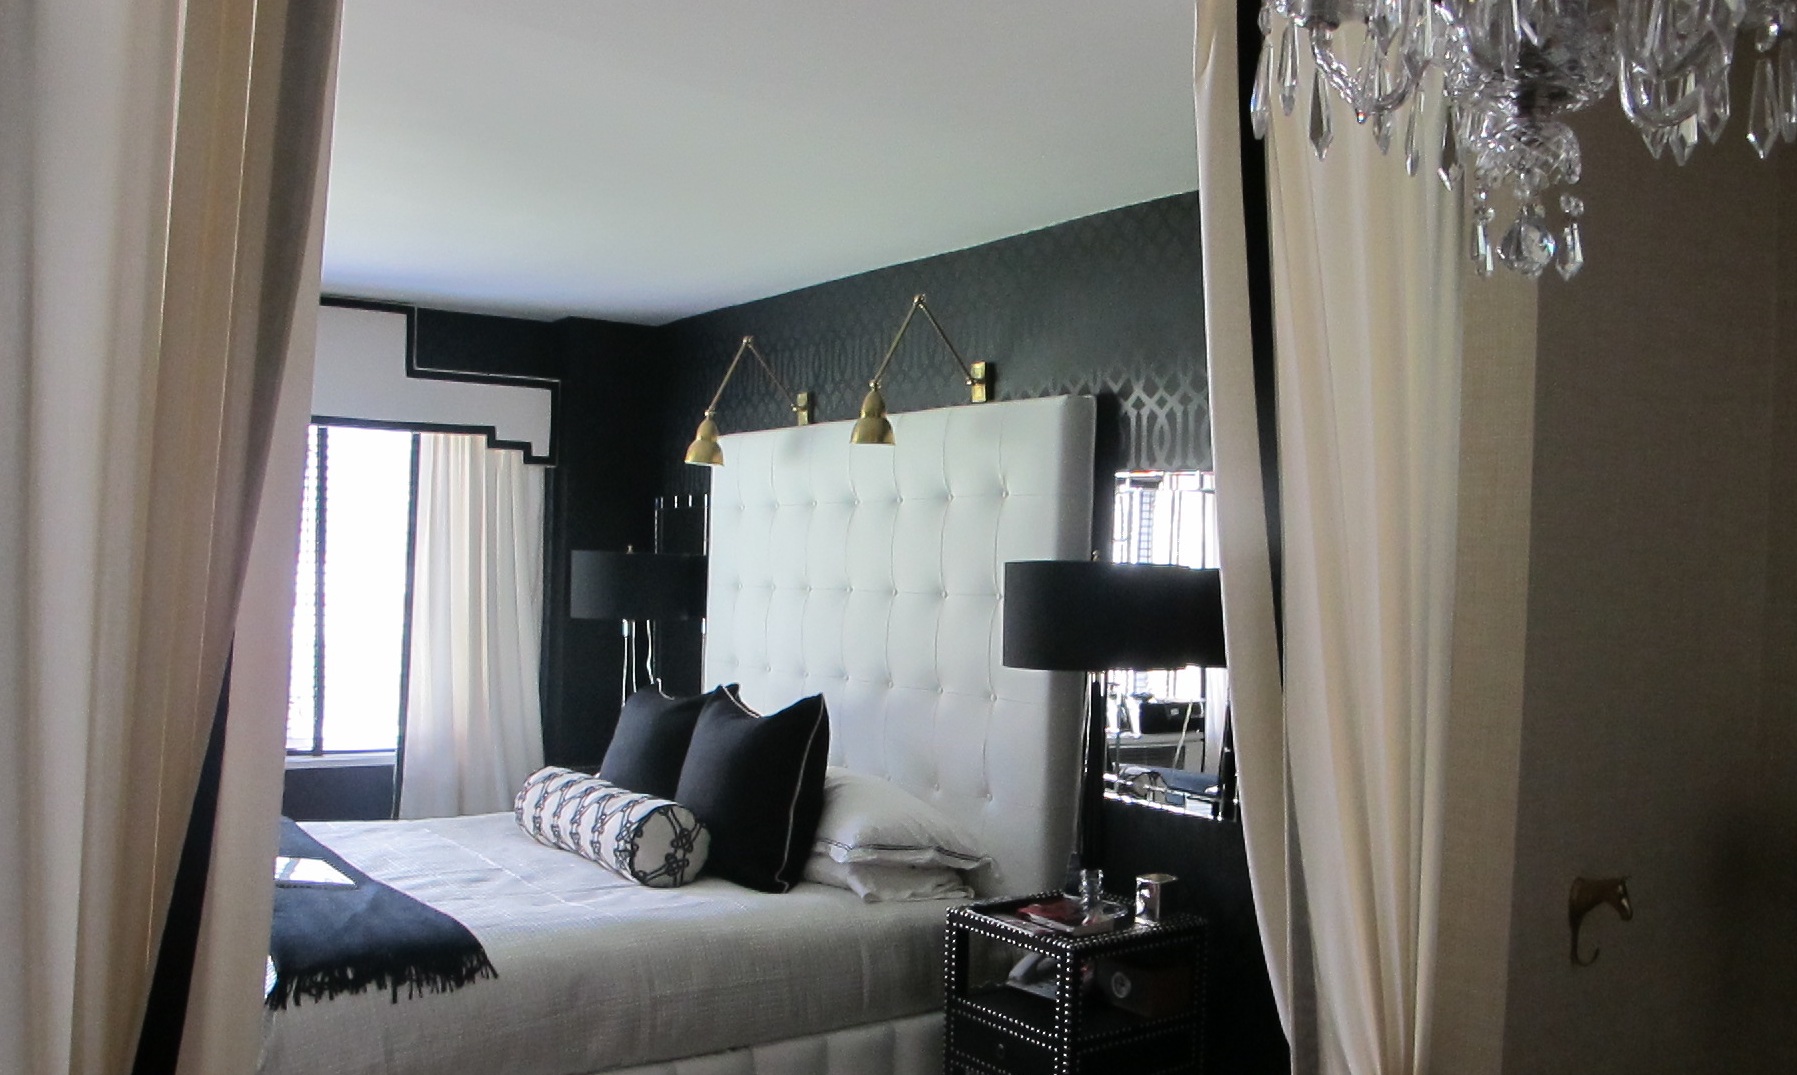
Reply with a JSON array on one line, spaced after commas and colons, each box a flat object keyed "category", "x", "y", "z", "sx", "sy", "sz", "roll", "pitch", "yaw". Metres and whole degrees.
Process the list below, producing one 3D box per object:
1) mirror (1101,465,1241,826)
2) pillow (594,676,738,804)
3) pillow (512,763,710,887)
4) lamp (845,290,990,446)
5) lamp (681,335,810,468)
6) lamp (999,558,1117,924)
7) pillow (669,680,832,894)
[{"category": "mirror", "x": 0.877, "y": 0.316, "z": 4.350, "sx": 0.051, "sy": 1.058, "sz": 0.501, "roll": -8, "pitch": 6, "yaw": -42}, {"category": "pillow", "x": -0.852, "y": 0.755, "z": 5.175, "sx": 0.191, "sy": 0.509, "sz": 0.537, "roll": 12, "pitch": -12, "yaw": -33}, {"category": "pillow", "x": -0.946, "y": 0.972, "z": 4.632, "sx": 0.238, "sy": 0.240, "sz": 0.888, "roll": 29, "pitch": -14, "yaw": -31}, {"category": "lamp", "x": 0.090, "y": -0.642, "z": 5.246, "sx": 0.162, "sy": 0.505, "sz": 0.776, "roll": 16, "pitch": 22, "yaw": 39}, {"category": "lamp", "x": -0.664, "y": -0.639, "z": 6.307, "sx": 0.766, "sy": 0.510, "sz": 0.183, "roll": -6, "pitch": -2, "yaw": 43}, {"category": "lamp", "x": 0.527, "y": 0.586, "z": 4.064, "sx": 0.402, "sy": 1.001, "sz": 0.398, "roll": -2, "pitch": -2, "yaw": 41}, {"category": "pillow", "x": -0.496, "y": 0.856, "z": 4.590, "sx": 0.269, "sy": 0.461, "sz": 0.508, "roll": 32, "pitch": -23, "yaw": -28}]
